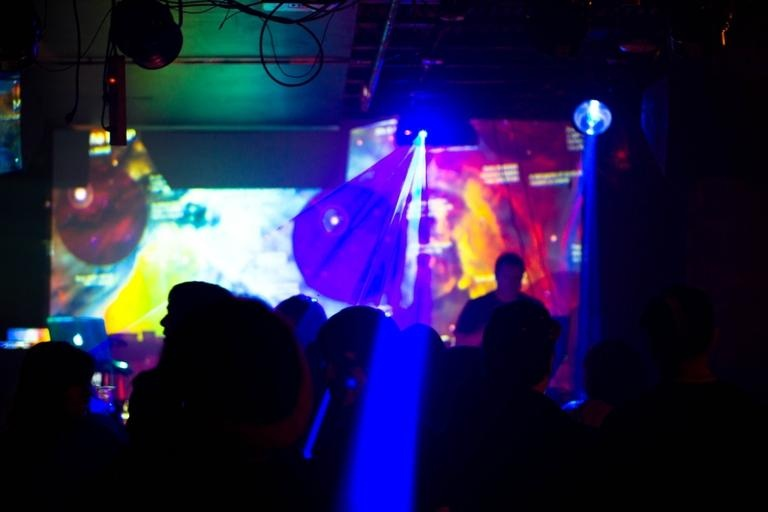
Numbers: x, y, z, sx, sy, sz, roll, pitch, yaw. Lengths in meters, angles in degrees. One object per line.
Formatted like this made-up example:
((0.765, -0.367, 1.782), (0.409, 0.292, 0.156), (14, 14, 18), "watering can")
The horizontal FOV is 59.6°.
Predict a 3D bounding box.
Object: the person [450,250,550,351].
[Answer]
((0.877, 0.334, 5.156), (0.850, 0.864, 0.476), (3, -6, -3), "person")
